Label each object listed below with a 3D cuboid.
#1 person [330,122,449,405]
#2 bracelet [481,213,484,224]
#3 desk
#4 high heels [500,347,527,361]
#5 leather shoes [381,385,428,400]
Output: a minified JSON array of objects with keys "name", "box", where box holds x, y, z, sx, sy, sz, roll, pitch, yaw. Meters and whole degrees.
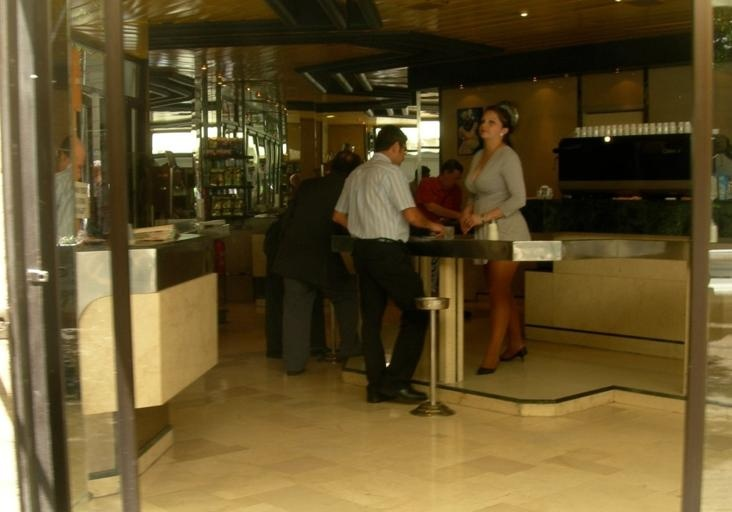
[{"name":"person","box":[0.196,0.082,4.938,0.815,2.193,0.414,2,7,44]},{"name":"bracelet","box":[0.935,-0.279,5.001,0.020,0.051,0.047,3,12,0]},{"name":"desk","box":[0.649,0.512,5.354,0.725,0.835,1.320,-4,6,-43]},{"name":"high heels","box":[1.420,0.937,5.906,0.307,0.100,0.105,-8,2,-12]},{"name":"leather shoes","box":[0.315,1.079,4.988,0.370,0.146,0.128,-1,0,-6]}]
